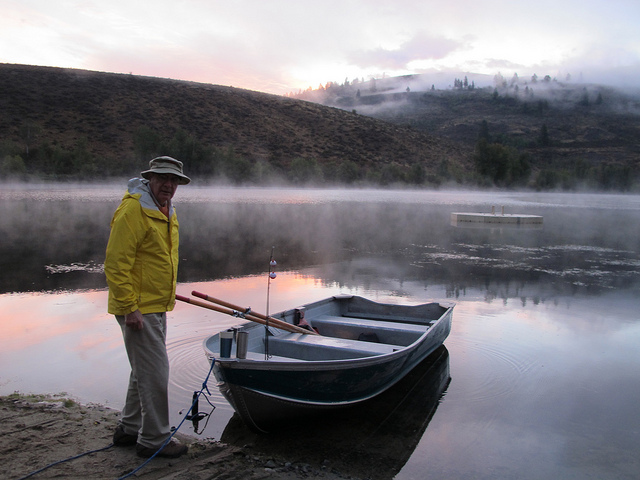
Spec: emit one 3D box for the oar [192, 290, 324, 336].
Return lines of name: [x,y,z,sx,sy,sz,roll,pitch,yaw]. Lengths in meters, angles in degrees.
oar: [-1.136,1.320,11.406,0.200,0.116,2.249,25,-5,41]

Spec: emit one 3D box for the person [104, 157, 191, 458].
person: [-2.105,0.833,7.707,0.960,3.678,0.624,0,7,-18]

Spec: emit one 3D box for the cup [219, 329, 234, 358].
cup: [-1.257,1.380,8.518,0.169,0.381,0.364,1,6,-9]

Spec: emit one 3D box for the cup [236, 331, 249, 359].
cup: [-1.040,1.383,8.442,0.137,0.361,0.126,2,6,0]

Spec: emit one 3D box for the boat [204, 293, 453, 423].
boat: [0.314,1.769,9.693,1.762,0.837,3.309,7,12,33]

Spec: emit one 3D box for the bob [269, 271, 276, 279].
bob: [-0.689,0.506,9.182,0.092,0.048,0.132,5,10,3]

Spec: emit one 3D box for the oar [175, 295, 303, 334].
oar: [-1.492,1.325,11.298,2.633,0.292,0.132,15,28,-5]
